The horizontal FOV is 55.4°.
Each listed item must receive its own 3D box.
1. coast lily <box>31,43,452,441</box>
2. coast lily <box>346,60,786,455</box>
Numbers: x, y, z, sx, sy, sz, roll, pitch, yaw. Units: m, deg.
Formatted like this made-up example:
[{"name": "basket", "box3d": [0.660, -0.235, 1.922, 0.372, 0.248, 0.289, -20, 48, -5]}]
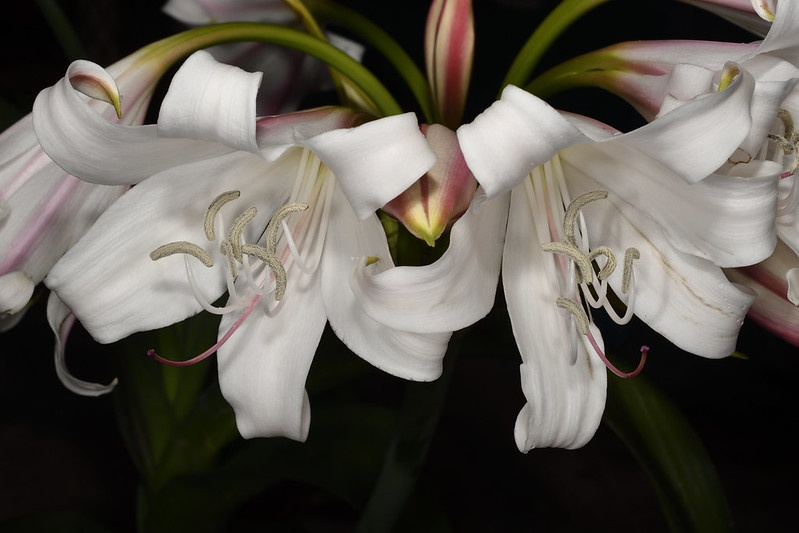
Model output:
[{"name": "coast lily", "box3d": [-0.207, -0.077, 1.092, 0.474, 0.548, 0.321, -22, 38, -22]}, {"name": "coast lily", "box3d": [0.248, -0.142, 1.191, 0.518, 0.548, 0.336, -31, 12, 14]}]
